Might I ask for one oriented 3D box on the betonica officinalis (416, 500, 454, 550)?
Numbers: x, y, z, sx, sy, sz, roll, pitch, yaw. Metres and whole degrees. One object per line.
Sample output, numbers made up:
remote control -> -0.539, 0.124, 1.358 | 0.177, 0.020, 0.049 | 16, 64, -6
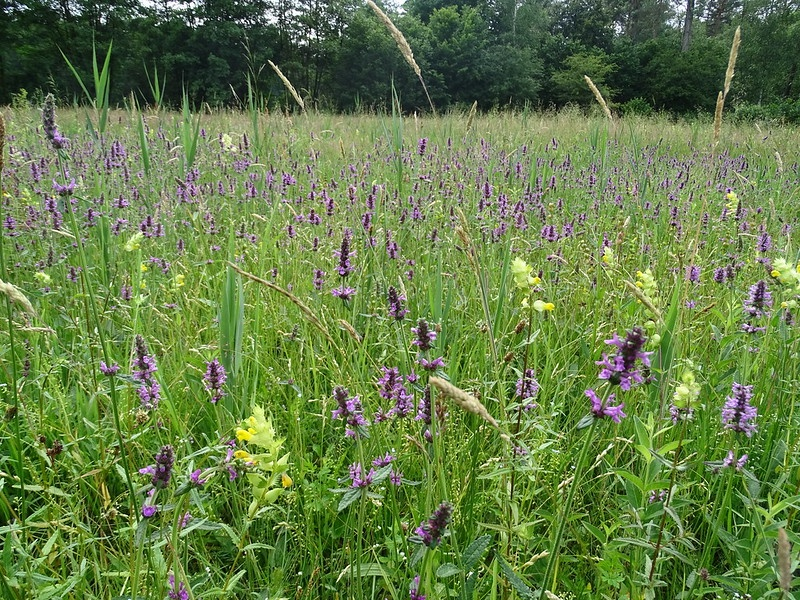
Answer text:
betonica officinalis -> 0.157, 0.996, 3.218 | 0.146, 0.225, 0.110 | 5, 12, 18
